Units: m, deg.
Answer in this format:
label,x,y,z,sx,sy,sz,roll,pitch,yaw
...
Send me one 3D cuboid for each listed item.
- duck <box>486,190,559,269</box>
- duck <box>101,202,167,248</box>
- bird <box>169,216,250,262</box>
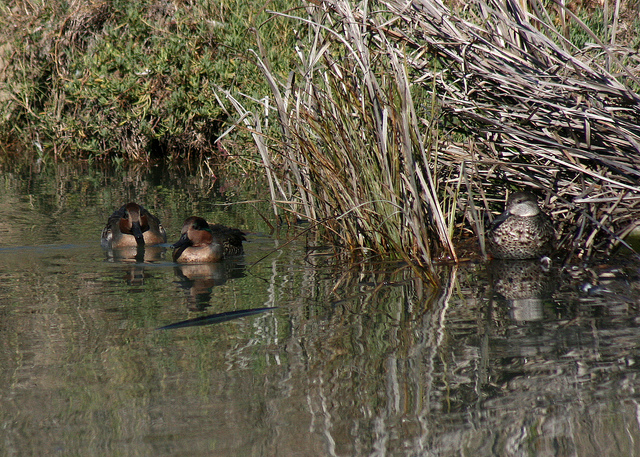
label,x,y,z,sx,sy,sz,roll,pitch,yaw
duck,1.680,0.011,6.201,0.497,0.443,0.689,-2,-17,11
duck,-1.839,-0.034,7.440,0.409,0.381,0.634,-2,5,-23
bird,-1.008,0.113,6.946,0.362,0.363,0.709,0,4,43
